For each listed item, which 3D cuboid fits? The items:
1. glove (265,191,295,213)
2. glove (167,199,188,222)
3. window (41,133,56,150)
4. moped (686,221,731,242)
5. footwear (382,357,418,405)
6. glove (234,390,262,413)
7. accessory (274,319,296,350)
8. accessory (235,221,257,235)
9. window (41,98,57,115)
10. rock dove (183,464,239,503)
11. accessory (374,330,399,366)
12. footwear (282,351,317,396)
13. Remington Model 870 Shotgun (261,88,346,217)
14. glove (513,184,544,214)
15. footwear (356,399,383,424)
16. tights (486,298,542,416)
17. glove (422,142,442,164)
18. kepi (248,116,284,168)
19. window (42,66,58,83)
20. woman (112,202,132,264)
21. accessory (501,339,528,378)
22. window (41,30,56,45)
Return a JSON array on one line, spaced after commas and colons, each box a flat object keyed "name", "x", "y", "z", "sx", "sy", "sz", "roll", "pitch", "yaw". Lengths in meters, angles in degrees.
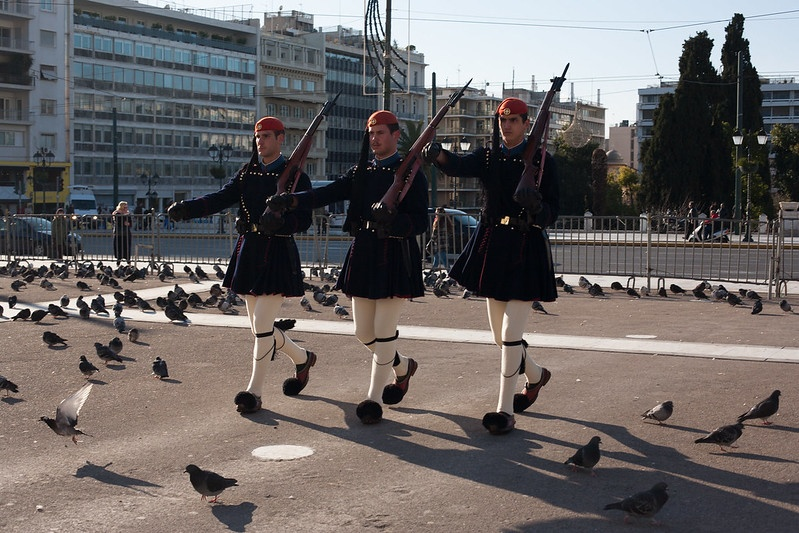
[{"name": "glove", "x": -1.299, "y": -0.690, "z": 11.193, "sx": 0.233, "sy": 0.204, "sz": 0.374, "roll": 6, "pitch": 11, "yaw": 33}, {"name": "glove", "x": -2.533, "y": -0.634, "z": 11.650, "sx": 0.192, "sy": 0.242, "sz": 0.091, "roll": 9, "pitch": 7, "yaw": 13}, {"name": "window", "x": -23.500, "y": -8.351, "z": 67.567, "sx": 0.396, "sy": 0.961, "sz": 1.254, "roll": 3, "pitch": 10, "yaw": 18}, {"name": "moped", "x": 7.060, "y": -0.795, "z": 23.111, "sx": 0.913, "sy": 0.644, "sz": 1.232, "roll": 3, "pitch": 10, "yaw": 16}, {"name": "footwear", "x": -0.023, "y": 1.372, "z": 11.643, "sx": 0.200, "sy": 0.647, "sz": 0.261, "roll": 14, "pitch": 13, "yaw": -46}, {"name": "glove", "x": -1.722, "y": 1.542, "z": 11.465, "sx": 0.290, "sy": 0.250, "sz": 0.184, "roll": -2, "pitch": 9, "yaw": -10}, {"name": "accessory", "x": -1.587, "y": 0.804, "z": 14.007, "sx": 0.308, "sy": 0.176, "sz": 0.449, "roll": 2, "pitch": 19, "yaw": 0}, {"name": "accessory", "x": -1.772, "y": -0.437, "z": 11.673, "sx": 0.154, "sy": 0.125, "sz": 0.202, "roll": 1, "pitch": -2, "yaw": 38}, {"name": "window", "x": -23.498, "y": -10.720, "z": 67.621, "sx": 1.223, "sy": 1.142, "sz": 0.118, "roll": -2, "pitch": 4, "yaw": -40}, {"name": "rock dove", "x": -1.771, "y": 2.050, "z": 9.582, "sx": 0.464, "sy": 0.360, "sz": 0.261, "roll": -2, "pitch": 9, "yaw": -12}, {"name": "accessory", "x": -0.120, "y": 0.915, "z": 11.391, "sx": 0.283, "sy": 0.386, "sz": 0.221, "roll": -1, "pitch": 2, "yaw": 29}, {"name": "footwear", "x": -1.206, "y": 1.348, "z": 12.221, "sx": 0.304, "sy": 0.589, "sz": 0.243, "roll": 22, "pitch": 5, "yaw": 36}, {"name": "Remington Model 870 Shotgun", "x": -1.041, "y": -1.280, "z": 12.286, "sx": 1.587, "sy": 1.763, "sz": 0.614, "roll": 1, "pitch": -2, "yaw": 32}, {"name": "glove", "x": 1.338, "y": -0.689, "z": 10.573, "sx": 0.263, "sy": 0.284, "sz": 0.310, "roll": 3, "pitch": 9, "yaw": 16}, {"name": "footwear", "x": -0.329, "y": 1.611, "z": 11.141, "sx": 0.266, "sy": 0.200, "sz": 0.271, "roll": 4, "pitch": -5, "yaw": -9}, {"name": "tights", "x": 1.203, "y": 0.976, "z": 11.170, "sx": 0.577, "sy": 1.262, "sz": 0.813, "roll": 3, "pitch": 10, "yaw": 19}, {"name": "glove", "x": 0.355, "y": -1.206, "z": 10.743, "sx": 0.212, "sy": 0.229, "sz": 0.271, "roll": -1, "pitch": 9, "yaw": -3}, {"name": "kepi", "x": -1.550, "y": -1.459, "z": 11.856, "sx": 0.409, "sy": 0.601, "sz": 0.384, "roll": -3, "pitch": -3, "yaw": 9}, {"name": "window", "x": -23.427, "y": -12.851, "z": 67.557, "sx": 0.310, "sy": 1.010, "sz": 1.201, "roll": -8, "pitch": 1, "yaw": 39}, {"name": "woman", "x": -7.404, "y": -0.887, "z": 27.010, "sx": 0.513, "sy": 1.693, "sz": 1.634, "roll": -3, "pitch": 9, "yaw": -16}, {"name": "accessory", "x": 1.326, "y": 0.994, "z": 11.147, "sx": 0.391, "sy": 0.286, "sz": 0.331, "roll": 1, "pitch": 2, "yaw": 21}, {"name": "window", "x": -23.471, "y": -15.287, "z": 67.432, "sx": 1.180, "sy": 1.060, "sz": 0.481, "roll": -1, "pitch": 1, "yaw": -43}]
